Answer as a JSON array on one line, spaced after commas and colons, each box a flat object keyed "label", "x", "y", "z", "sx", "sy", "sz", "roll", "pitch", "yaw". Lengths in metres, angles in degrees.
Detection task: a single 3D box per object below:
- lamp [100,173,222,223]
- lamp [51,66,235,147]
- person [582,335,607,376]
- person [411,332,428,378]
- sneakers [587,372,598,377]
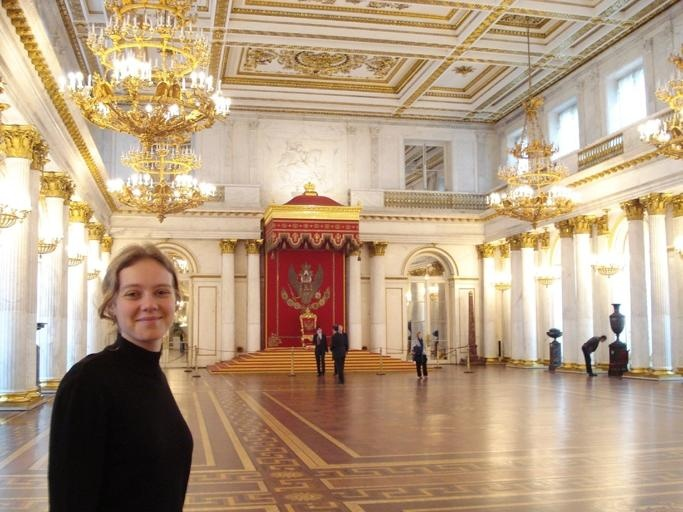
[{"label": "lamp", "x": -4.290, "y": -1.466, "z": 14.270, "sx": 1.947, "sy": 0.848, "sz": 1.836, "roll": 2, "pitch": -6, "yaw": -10}, {"label": "lamp", "x": -3.083, "y": -2.506, "z": 9.778, "sx": 2.430, "sy": 1.157, "sz": 1.395, "roll": 0, "pitch": -5, "yaw": -9}, {"label": "person", "x": 7.465, "y": 2.934, "z": 17.976, "sx": 0.642, "sy": 1.139, "sz": 1.384, "roll": -3, "pitch": -5, "yaw": 22}, {"label": "person", "x": 2.335, "y": 2.985, "z": 18.257, "sx": 0.404, "sy": 1.315, "sz": 1.331, "roll": -1, "pitch": -5, "yaw": 6}, {"label": "sneakers", "x": 7.288, "y": 3.479, "z": 17.648, "sx": 0.182, "sy": 0.069, "sz": 0.187, "roll": -1, "pitch": -3, "yaw": 7}]
